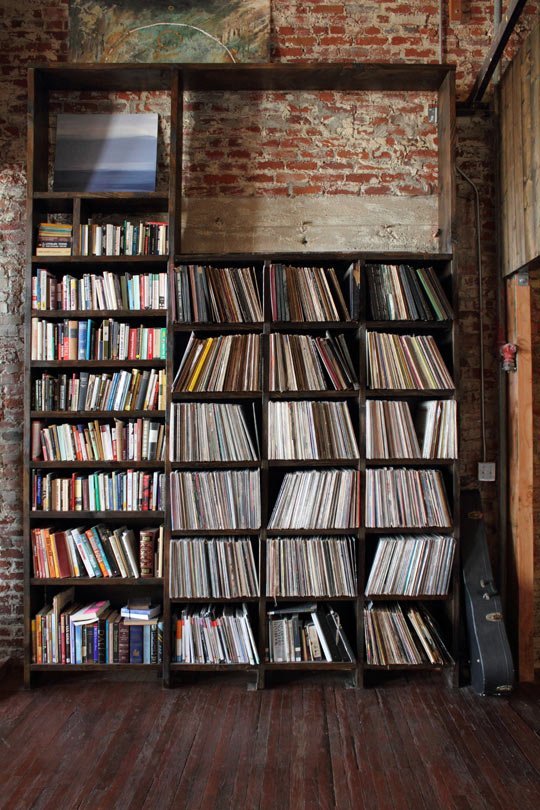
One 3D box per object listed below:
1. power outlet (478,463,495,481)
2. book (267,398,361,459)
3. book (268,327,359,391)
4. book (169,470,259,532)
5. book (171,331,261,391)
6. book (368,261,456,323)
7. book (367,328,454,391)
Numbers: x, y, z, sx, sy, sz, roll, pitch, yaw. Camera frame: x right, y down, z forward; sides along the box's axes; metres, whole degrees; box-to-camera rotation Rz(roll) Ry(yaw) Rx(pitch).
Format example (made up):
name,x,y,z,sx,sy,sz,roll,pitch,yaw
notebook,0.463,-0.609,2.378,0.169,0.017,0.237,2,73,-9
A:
name,x,y,z,sx,sy,sz,roll,pitch,yaw
power outlet,1.034,0.323,3.592,0.088,0.105,0.048,1,10,7
book,0.189,0.115,3.301,0.396,0.250,0.049,0,10,-1
book,0.190,-0.184,3.301,0.384,0.245,0.066,0,10,1
book,-0.236,0.419,3.303,0.399,0.258,0.045,0,10,1
book,-0.231,-0.178,3.296,0.380,0.237,0.081,-2,10,-7
book,0.620,-0.486,3.316,0.262,0.112,0.366,3,-1,1
book,0.593,-0.183,3.417,0.280,0.103,0.296,2,-11,1
